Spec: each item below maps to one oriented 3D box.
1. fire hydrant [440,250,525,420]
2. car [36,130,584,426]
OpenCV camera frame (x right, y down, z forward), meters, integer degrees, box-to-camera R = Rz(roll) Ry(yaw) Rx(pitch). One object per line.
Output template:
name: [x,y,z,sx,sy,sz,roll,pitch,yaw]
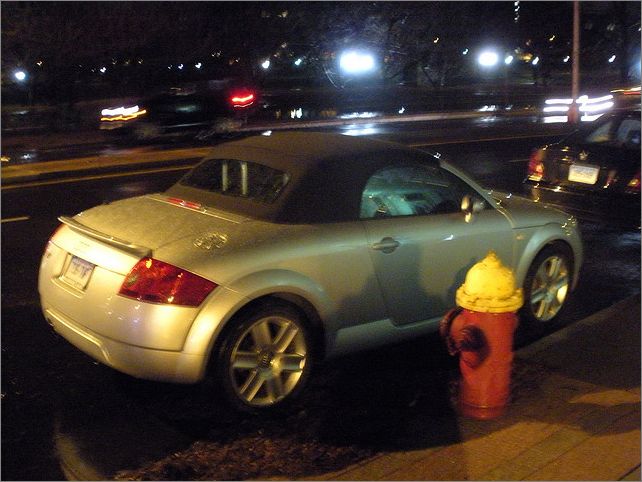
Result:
fire hydrant: [1.125,0.677,3.385,0.559,1.159,0.426,2,16,18]
car: [0.090,-0.285,4.611,4.797,1.340,2.056,-18,32,-34]
